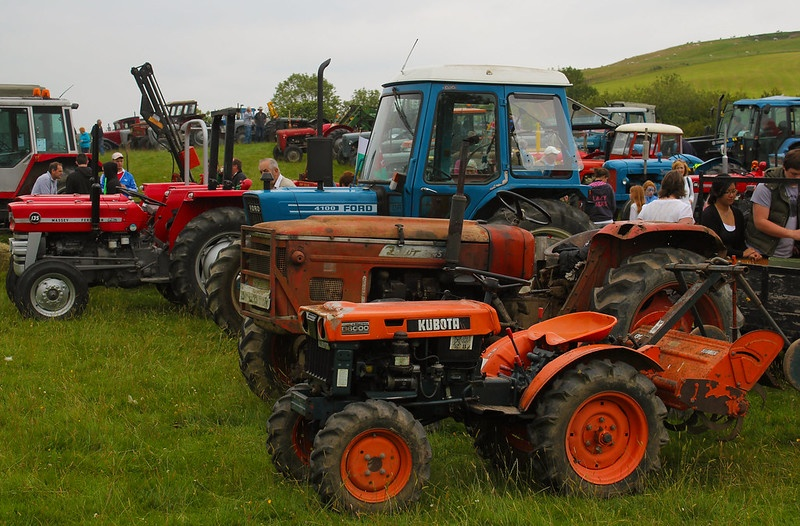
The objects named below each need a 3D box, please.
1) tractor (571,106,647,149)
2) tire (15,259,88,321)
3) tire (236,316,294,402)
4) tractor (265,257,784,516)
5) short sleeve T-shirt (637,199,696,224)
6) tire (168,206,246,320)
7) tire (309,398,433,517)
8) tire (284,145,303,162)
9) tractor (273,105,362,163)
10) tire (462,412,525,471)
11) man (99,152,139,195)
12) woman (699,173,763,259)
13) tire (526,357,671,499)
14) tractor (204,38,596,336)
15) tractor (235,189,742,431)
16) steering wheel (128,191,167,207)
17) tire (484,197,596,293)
[{"bbox_3d":[8.356,-4.923,25.090,2.797,1.696,1.790,-7,3,-7],"label":"tractor"},{"bbox_3d":[-5.296,0.424,9.989,0.905,0.901,0.379,2,-2,-10],"label":"tire"},{"bbox_3d":[-1.347,0.969,6.712,0.807,0.802,0.330,12,9,-8],"label":"tire"},{"bbox_3d":[1.037,0.834,6.121,4.417,2.025,1.910,1,2,-14],"label":"tractor"},{"bbox_3d":[3.408,-0.651,8.413,0.616,0.458,0.317,5,-20,25],"label":"short sleeve T-shirt"},{"bbox_3d":[-2.807,-0.011,9.658,1.676,1.659,0.555,-5,11,-42],"label":"tire"},{"bbox_3d":[-0.239,1.488,4.997,0.830,0.823,0.274,1,-2,-17],"label":"tire"},{"bbox_3d":[-4.664,-4.744,28.560,0.753,0.750,0.269,1,8,-12],"label":"tire"},{"bbox_3d":[-3.508,-5.705,29.691,4.338,2.315,2.173,-11,15,-31],"label":"tractor"},{"bbox_3d":[0.870,1.538,5.773,0.541,0.170,0.533,0,16,-17],"label":"tire"},{"bbox_3d":[-6.092,-1.809,14.260,0.798,1.226,0.670,-1,-6,-34],"label":"man"},{"bbox_3d":[4.000,-0.516,7.953,0.545,0.986,0.933,2,4,-9],"label":"woman"},{"bbox_3d":[1.608,1.382,5.421,1.185,1.124,0.364,5,-1,-17],"label":"tire"},{"bbox_3d":[-0.008,-1.101,9.703,5.600,3.513,2.991,-5,18,-21],"label":"tractor"},{"bbox_3d":[0.864,0.391,6.620,4.478,2.008,2.435,1,19,28],"label":"tractor"},{"bbox_3d":[-4.441,-1.136,11.643,0.374,0.102,0.363,11,-4,1],"label":"steering wheel"},{"bbox_3d":[1.585,-0.182,7.453,1.069,1.061,0.372,6,8,-13],"label":"tire"}]
